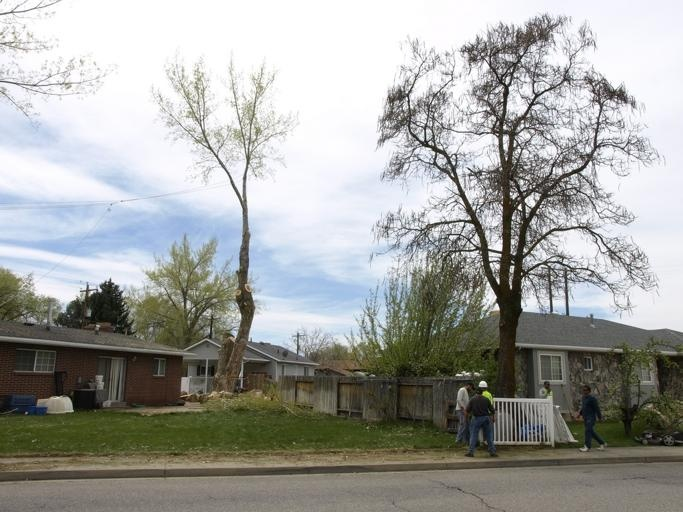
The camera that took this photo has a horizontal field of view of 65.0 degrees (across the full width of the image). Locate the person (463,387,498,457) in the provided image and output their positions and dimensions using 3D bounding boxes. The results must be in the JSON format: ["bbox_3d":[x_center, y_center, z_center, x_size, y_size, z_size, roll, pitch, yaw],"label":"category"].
[{"bbox_3d":[3.997,4.650,15.379,0.835,2.014,1.453,-2,-15,15],"label":"person"}]

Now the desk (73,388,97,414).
[{"bbox_3d":[-12.011,6.633,24.933,1.062,1.209,0.847,1,-6,3],"label":"desk"}]
